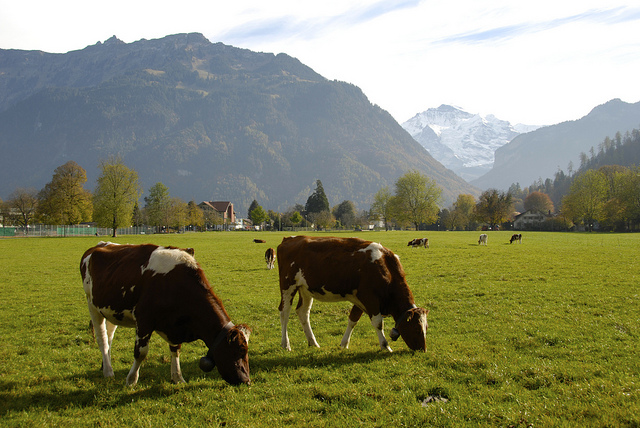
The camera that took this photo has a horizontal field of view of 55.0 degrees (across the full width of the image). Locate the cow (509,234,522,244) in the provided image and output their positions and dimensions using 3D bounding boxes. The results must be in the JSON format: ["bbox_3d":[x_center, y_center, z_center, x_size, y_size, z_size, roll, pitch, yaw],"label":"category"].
[{"bbox_3d":[23.633,2.977,73.804,1.228,1.136,2.948,2,0,17],"label":"cow"}]

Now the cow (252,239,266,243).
[{"bbox_3d":[-7.845,3.564,79.727,1.073,0.418,3.185,2,0,-17],"label":"cow"}]

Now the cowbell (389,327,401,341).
[{"bbox_3d":[4.347,6.923,35.284,0.462,0.685,0.674,11,-20,-15],"label":"cowbell"}]

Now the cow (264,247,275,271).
[{"bbox_3d":[-4.191,3.771,51.930,0.655,1.879,2.680,1,0,-3],"label":"cow"}]
